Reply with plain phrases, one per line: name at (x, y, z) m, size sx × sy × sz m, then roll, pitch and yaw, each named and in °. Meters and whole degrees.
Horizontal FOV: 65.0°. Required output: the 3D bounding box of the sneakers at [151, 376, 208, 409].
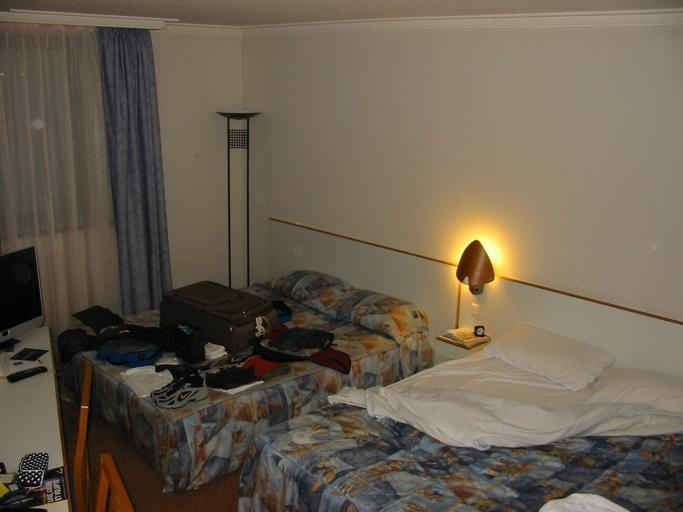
sneakers at (-1.036, 0.893, 3.477) m, size 0.288 × 0.114 × 0.166 m, roll -8°, pitch 19°, yaw -36°

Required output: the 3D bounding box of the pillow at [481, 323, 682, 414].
pillow at (1.406, 0.711, 3.728) m, size 0.512 × 0.162 × 0.656 m, roll -27°, pitch 34°, yaw -35°

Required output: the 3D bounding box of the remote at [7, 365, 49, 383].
remote at (-1.864, 0.680, 3.155) m, size 0.077 × 0.037 × 0.152 m, roll 19°, pitch 24°, yaw 40°

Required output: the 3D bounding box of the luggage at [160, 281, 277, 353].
luggage at (-1.010, 0.469, 4.387) m, size 0.907 × 0.333 × 0.620 m, roll 18°, pitch 23°, yaw 37°

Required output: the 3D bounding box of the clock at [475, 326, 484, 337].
clock at (1.091, 0.596, 4.247) m, size 0.060 × 0.082 × 0.040 m, roll 12°, pitch 13°, yaw 20°

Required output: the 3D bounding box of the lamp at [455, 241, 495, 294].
lamp at (1.047, 0.103, 4.164) m, size 0.294 × 0.449 × 0.160 m, roll 3°, pitch 14°, yaw 12°
